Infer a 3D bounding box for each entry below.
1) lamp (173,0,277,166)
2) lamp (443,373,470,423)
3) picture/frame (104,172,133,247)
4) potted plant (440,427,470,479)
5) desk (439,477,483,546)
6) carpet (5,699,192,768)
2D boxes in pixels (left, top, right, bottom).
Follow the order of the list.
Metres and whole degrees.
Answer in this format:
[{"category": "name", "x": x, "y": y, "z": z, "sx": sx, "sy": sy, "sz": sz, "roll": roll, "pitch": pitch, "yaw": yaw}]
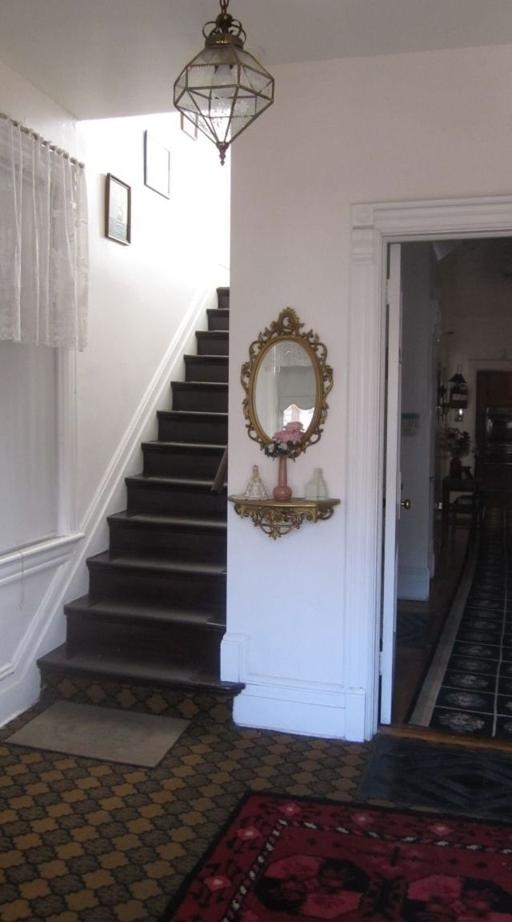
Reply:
[{"category": "lamp", "x": -0.078, "y": -0.952, "z": 1.884, "sx": 0.233, "sy": 0.471, "sz": 0.283, "roll": 1, "pitch": 2, "yaw": 2}, {"category": "lamp", "x": 2.572, "y": -0.768, "z": 9.880, "sx": 0.291, "sy": 0.530, "sz": 0.458, "roll": 1, "pitch": 3, "yaw": 17}, {"category": "picture/frame", "x": -0.776, "y": -1.404, "z": 4.331, "sx": 0.038, "sy": 0.316, "sz": 0.336, "roll": 1, "pitch": 25, "yaw": -32}, {"category": "potted plant", "x": 2.488, "y": -0.099, "z": 9.610, "sx": 0.369, "sy": 0.594, "sz": 0.732, "roll": 1, "pitch": 3, "yaw": 14}, {"category": "desk", "x": 2.361, "y": 0.546, "z": 8.845, "sx": 0.409, "sy": 0.686, "sz": 1.794, "roll": 1, "pitch": 3, "yaw": 16}, {"category": "carpet", "x": -0.649, "y": 1.139, "z": 3.216, "sx": 0.692, "sy": 0.025, "sz": 0.441, "roll": 1, "pitch": 3, "yaw": 18}]
